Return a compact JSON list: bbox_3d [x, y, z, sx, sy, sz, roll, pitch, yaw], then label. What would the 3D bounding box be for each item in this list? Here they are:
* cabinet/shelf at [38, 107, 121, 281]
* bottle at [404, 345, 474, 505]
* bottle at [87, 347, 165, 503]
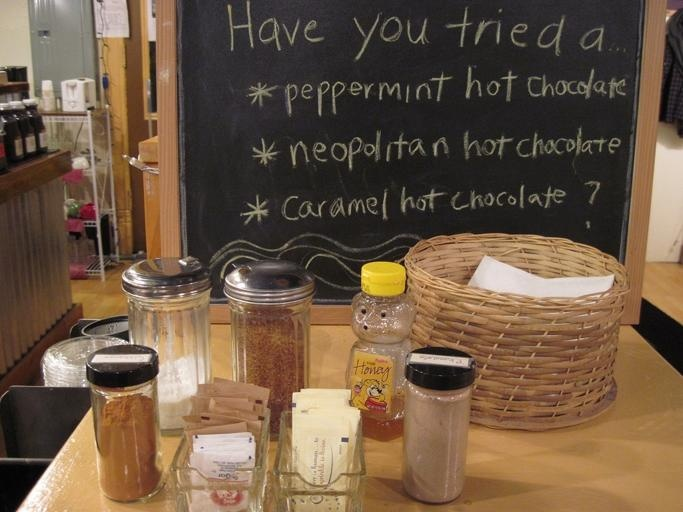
[{"bbox_3d":[-1.933,-0.517,4.490,0.476,1.212,0.751,-9,24,-23],"label":"cabinet/shelf"},{"bbox_3d":[0.189,0.336,1.165,0.135,0.281,0.127,1,22,0],"label":"bottle"},{"bbox_3d":[-0.423,0.329,1.165,0.135,0.284,0.135,1,22,0],"label":"bottle"}]
